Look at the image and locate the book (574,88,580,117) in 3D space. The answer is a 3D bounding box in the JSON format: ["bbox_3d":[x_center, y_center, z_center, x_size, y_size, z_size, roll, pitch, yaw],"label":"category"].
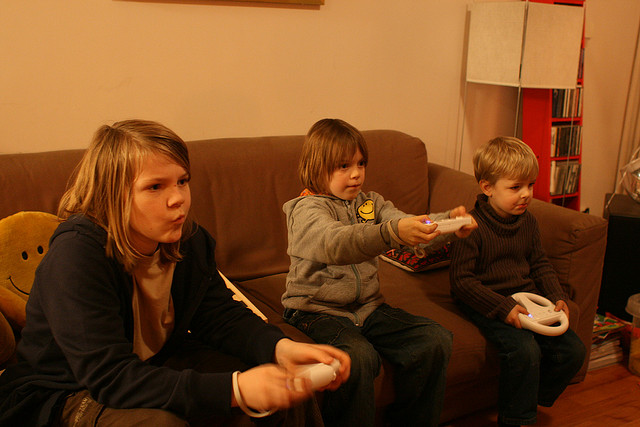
[{"bbox_3d":[1.524,-0.655,2.956,0.027,0.160,0.031,0,6,27],"label":"book"}]

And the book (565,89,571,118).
[{"bbox_3d":[1.463,-0.645,2.933,0.032,0.158,0.011,-5,6,-21],"label":"book"}]

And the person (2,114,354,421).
[{"bbox_3d":[-0.584,0.157,1.802,1.222,0.987,0.785,1,9,19],"label":"person"}]

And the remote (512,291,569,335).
[{"bbox_3d":[0.893,0.409,2.046,0.172,0.041,0.175,-11,40,-37],"label":"remote"}]

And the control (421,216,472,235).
[{"bbox_3d":[0.431,0.044,1.639,0.061,0.053,0.221,1,6,39],"label":"control"}]

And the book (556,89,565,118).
[{"bbox_3d":[1.405,-0.644,2.912,0.053,0.148,0.020,-6,6,-31],"label":"book"}]

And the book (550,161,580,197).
[{"bbox_3d":[1.434,-0.219,3.014,0.235,0.210,0.130,-3,15,-14],"label":"book"}]

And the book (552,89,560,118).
[{"bbox_3d":[1.370,-0.640,2.896,0.046,0.155,0.022,-6,6,-29],"label":"book"}]

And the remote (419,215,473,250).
[{"bbox_3d":[0.432,0.075,1.709,0.180,0.134,0.345,-2,5,10],"label":"remote"}]
